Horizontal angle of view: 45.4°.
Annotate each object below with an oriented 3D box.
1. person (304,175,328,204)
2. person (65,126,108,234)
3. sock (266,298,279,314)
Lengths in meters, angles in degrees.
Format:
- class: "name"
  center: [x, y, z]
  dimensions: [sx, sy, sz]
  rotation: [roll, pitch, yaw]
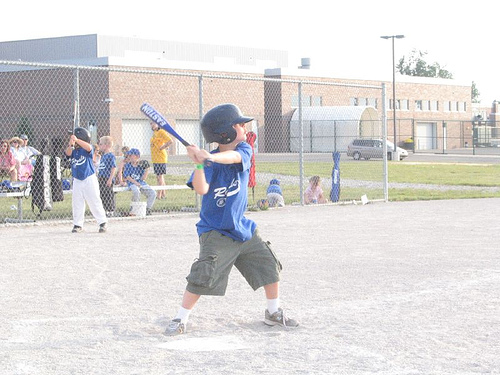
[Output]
- class: "person"
  center: [1.710, 0.068, 15.380]
  dimensions: [0.406, 0.686, 0.920]
  rotation: [0, 2, 27]
- class: "person"
  center: [-2.946, -0.139, 10.767]
  dimensions: [0.682, 1.903, 1.095]
  rotation: [-1, 2, -14]
- class: "sock"
  center: [0.209, 1.070, 5.436]
  dimensions: [0.122, 0.139, 0.080]
  rotation: [10, 7, 23]
